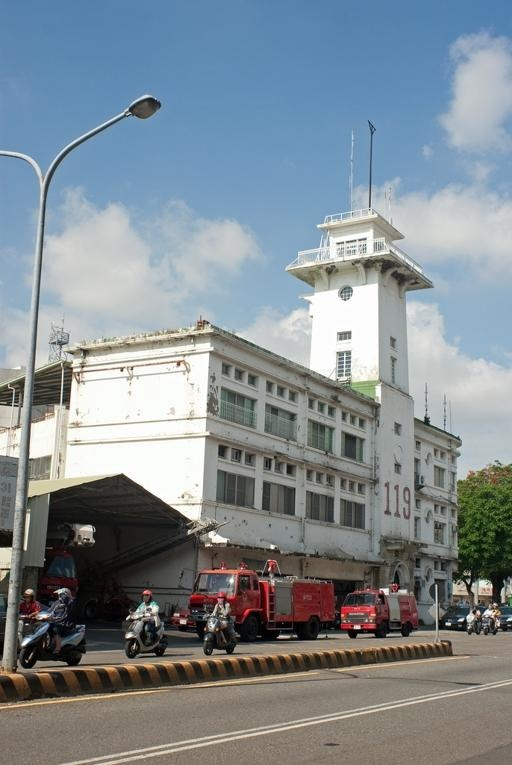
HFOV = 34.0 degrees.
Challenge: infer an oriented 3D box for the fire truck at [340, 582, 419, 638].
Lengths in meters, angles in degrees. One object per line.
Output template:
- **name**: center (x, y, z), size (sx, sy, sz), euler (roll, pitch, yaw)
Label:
- **fire truck**: center (5.002, 10.271, 37.239), size (2.724, 2.247, 5.437), euler (-3, -13, 29)

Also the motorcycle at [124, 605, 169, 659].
- **motorcycle**: center (-2.599, 5.697, 18.987), size (1.120, 1.271, 0.886), euler (-11, -12, 44)

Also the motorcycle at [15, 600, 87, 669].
- **motorcycle**: center (-3.872, 4.831, 15.476), size (0.689, 1.190, 1.729), euler (-21, -35, 29)

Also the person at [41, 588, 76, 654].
- **person**: center (-3.633, 4.350, 15.457), size (0.573, 0.961, 0.514), euler (1, -10, -19)

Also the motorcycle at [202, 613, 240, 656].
- **motorcycle**: center (-1.030, 6.172, 20.286), size (0.566, 0.713, 1.290), euler (-10, -31, 20)

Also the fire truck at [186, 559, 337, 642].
- **fire truck**: center (0.280, 7.974, 30.134), size (2.560, 2.433, 6.222), euler (-10, -19, 33)

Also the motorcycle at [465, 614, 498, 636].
- **motorcycle**: center (13.002, 14.041, 48.410), size (1.249, 1.362, 2.494), euler (-2, -9, 24)
